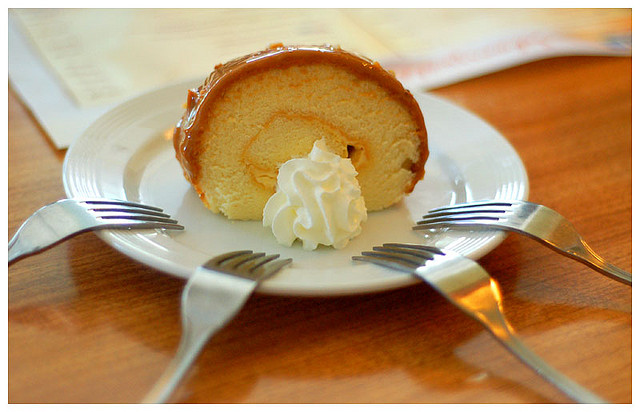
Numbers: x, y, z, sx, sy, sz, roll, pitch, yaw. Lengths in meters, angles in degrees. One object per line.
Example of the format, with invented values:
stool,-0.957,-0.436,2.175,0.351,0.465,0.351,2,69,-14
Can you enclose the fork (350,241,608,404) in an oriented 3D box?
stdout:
fork,0.260,0.200,0.854,0.451,0.048,0.064,27,44,33
